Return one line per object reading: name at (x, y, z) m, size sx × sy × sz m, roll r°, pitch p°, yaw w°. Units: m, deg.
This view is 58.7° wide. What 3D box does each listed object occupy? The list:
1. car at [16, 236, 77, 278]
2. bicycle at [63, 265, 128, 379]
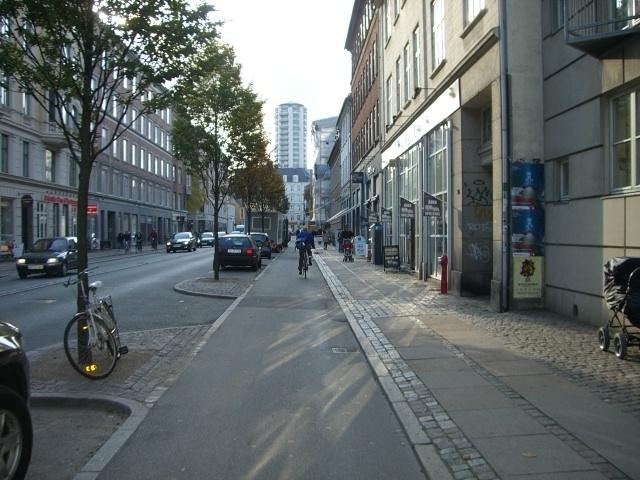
car at (-10.313, 0.716, 21.747) m, size 1.585 × 1.444 × 2.366 m, roll -1°, pitch 4°, yaw -5°
bicycle at (-3.104, 1.310, 8.343) m, size 0.686 × 1.009 × 1.560 m, roll -29°, pitch 5°, yaw 2°
